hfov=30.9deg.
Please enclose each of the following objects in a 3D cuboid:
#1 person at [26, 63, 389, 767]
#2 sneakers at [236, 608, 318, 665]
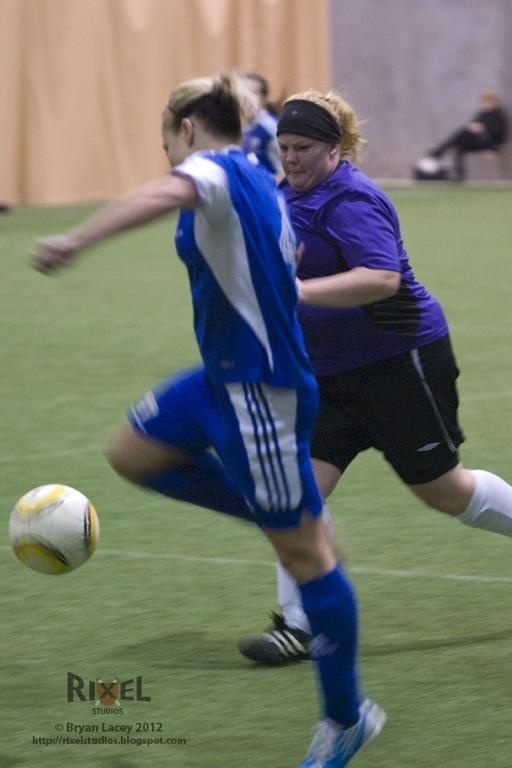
[{"bbox_3d":[-0.036,0.060,1.877,0.597,1.391,0.837,-2,10,-4],"label":"person"},{"bbox_3d":[0.057,0.687,2.488,0.335,0.129,0.121,0,1,-15],"label":"sneakers"}]
